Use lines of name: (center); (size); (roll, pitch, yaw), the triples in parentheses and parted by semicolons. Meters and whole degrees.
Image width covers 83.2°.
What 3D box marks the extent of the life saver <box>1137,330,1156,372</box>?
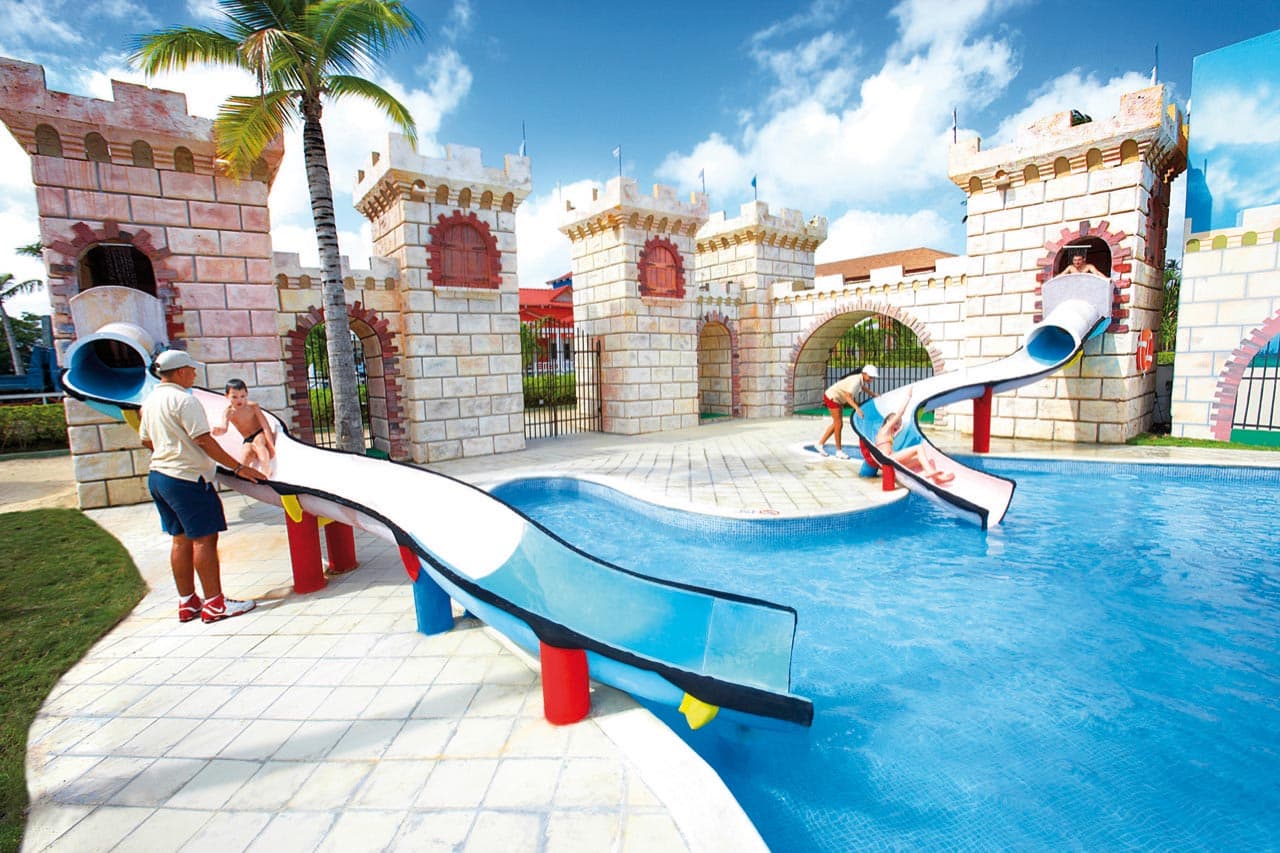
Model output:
life saver: (11.507, -1.696, 16.370); (0.188, 1.073, 0.675); (1, 0, 36)

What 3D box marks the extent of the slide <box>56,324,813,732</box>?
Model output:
slide: (-3.228, 1.332, 10.221); (9.326, 2.592, 1.654); (31, 15, 20)

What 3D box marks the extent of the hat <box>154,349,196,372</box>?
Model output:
hat: (-5.531, -0.731, 8.557); (0.293, 0.227, 0.401); (11, 26, 26)

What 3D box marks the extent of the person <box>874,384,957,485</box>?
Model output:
person: (5.024, 0.177, 12.852); (1.487, 1.454, 0.497); (1, 4, -25)

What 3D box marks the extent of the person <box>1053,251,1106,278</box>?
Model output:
person: (9.687, -3.508, 15.828); (0.758, 0.611, 0.995); (0, 8, 30)

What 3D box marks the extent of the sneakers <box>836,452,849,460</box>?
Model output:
sneakers: (4.285, 0.692, 15.243); (0.260, 0.126, 0.151); (-1, 7, 31)

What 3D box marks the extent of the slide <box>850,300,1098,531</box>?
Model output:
slide: (6.570, -0.431, 13.458); (5.141, 1.853, 4.048); (-34, 28, -18)
